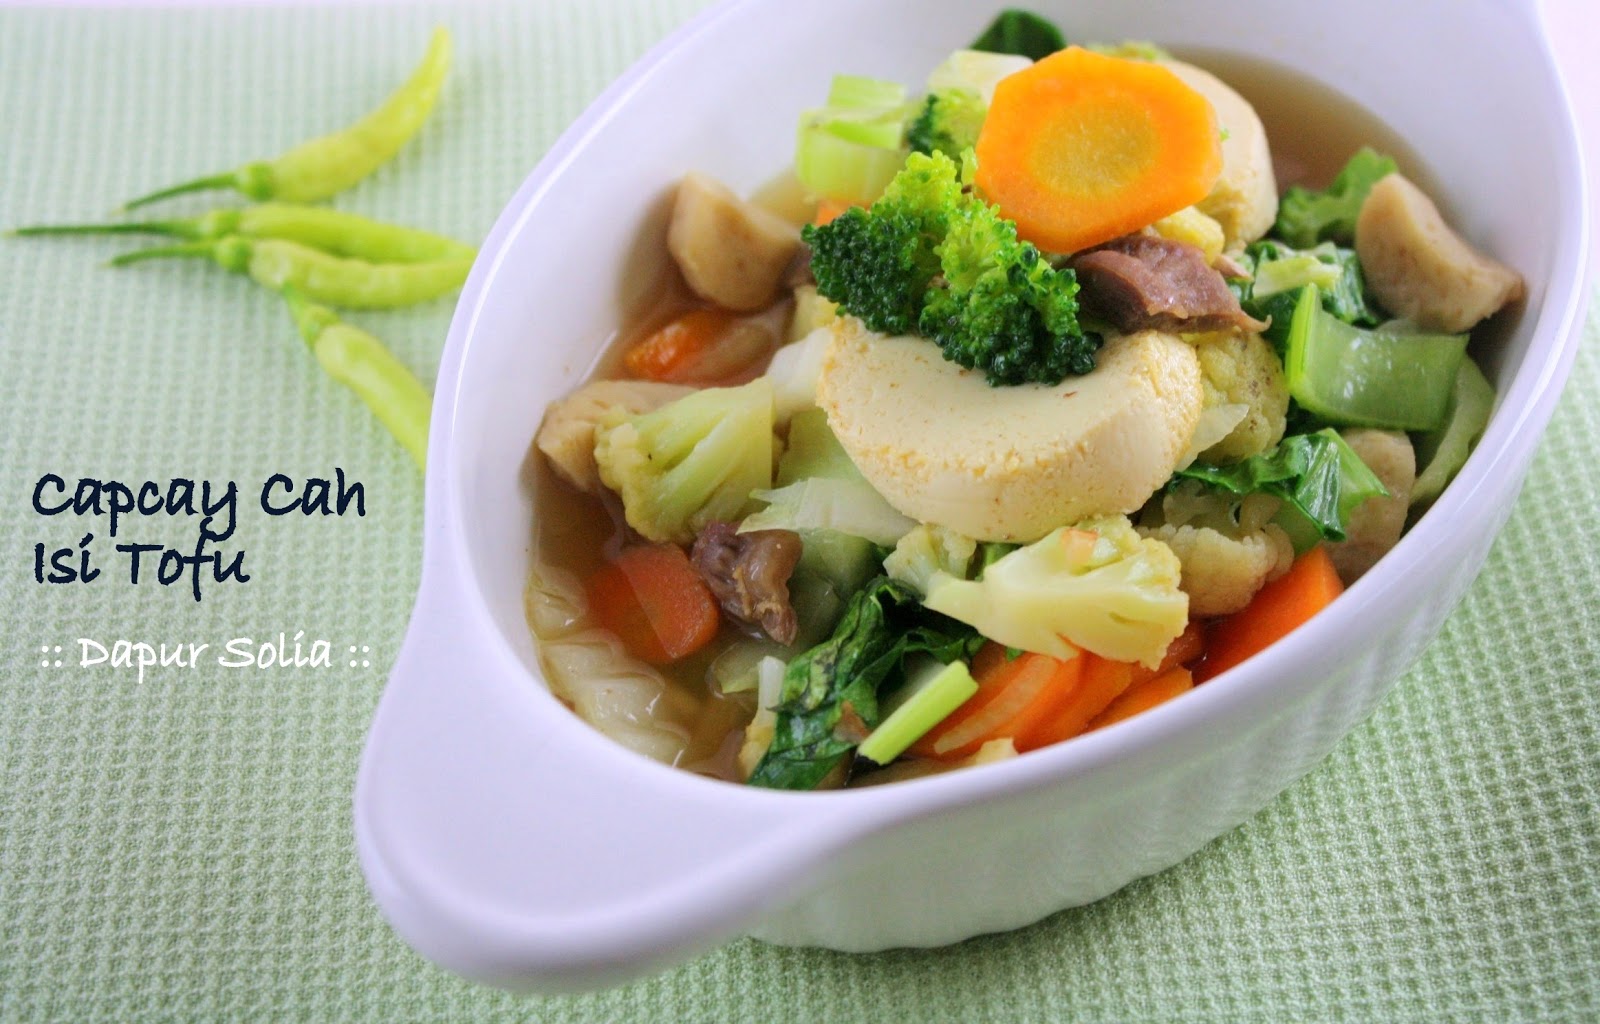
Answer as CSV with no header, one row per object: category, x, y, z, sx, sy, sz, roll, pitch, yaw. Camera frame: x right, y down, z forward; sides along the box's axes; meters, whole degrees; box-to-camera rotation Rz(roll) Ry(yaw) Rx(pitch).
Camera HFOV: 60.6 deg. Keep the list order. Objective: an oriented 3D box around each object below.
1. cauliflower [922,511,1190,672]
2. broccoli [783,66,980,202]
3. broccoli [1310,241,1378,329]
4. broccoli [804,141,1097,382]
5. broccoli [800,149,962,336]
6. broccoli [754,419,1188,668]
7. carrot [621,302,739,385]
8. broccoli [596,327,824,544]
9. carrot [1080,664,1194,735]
cauliflower,0.385,0.105,2.028,0.352,0.198,0.154,13,39,-8
broccoli,0.157,-0.681,2.453,0.276,0.101,0.274,18,74,20
broccoli,0.924,-0.377,2.363,0.112,0.039,0.173,-1,64,-19
broccoli,0.273,-0.462,2.158,0.488,0.191,0.343,-5,14,-4
broccoli,0.135,-0.428,2.160,0.173,0.251,0.315,14,27,33
broccoli,0.259,0.072,2.117,0.530,0.367,0.166,-5,13,41
carrot,-0.213,-0.296,2.430,0.114,0.045,0.192,38,69,16
broccoli,-0.142,-0.101,2.377,0.416,0.165,0.280,-34,82,-14
carrot,0.528,0.280,2.082,0.100,0.110,0.033,-18,67,-43
